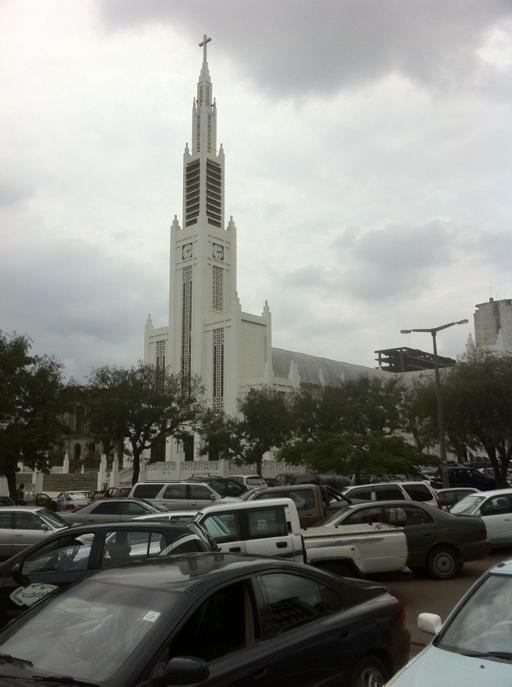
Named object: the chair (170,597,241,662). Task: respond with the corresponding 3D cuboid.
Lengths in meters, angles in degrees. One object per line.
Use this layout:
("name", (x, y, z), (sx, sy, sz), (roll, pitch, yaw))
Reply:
("chair", (-0.225, 1.515, 3.305), (0.243, 0.141, 0.359), (-17, -19, -19))

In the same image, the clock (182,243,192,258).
("clock", (-8.383, -11.244, 76.264), (0.364, 2.114, 1.925), (6, -10, -42))

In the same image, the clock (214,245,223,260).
("clock", (-4.533, -11.161, 76.248), (0.308, 2.138, 1.887), (-7, -9, 39))
